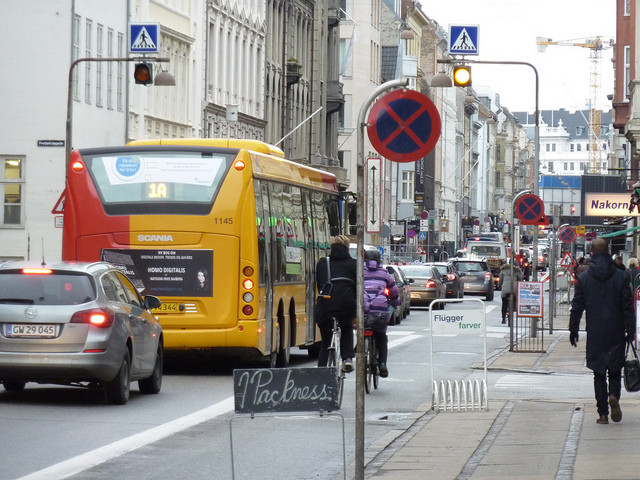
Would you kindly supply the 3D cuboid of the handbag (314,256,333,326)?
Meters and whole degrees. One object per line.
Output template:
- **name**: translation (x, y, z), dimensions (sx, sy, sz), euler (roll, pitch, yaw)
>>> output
- **handbag**: translation (0.065, 0.783, 17.683), dimensions (0.247, 0.910, 0.367), euler (-2, 0, -11)

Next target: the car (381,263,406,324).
- **car**: translation (2.232, 1.747, 38.648), dimensions (1.035, 2.642, 1.039), euler (-2, 0, 6)

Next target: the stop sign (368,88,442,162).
- **stop sign**: translation (0.812, -1.098, 11.594), dimensions (0.687, 0.635, 0.326), euler (-2, 0, 2)

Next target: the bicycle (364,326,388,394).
- **bicycle**: translation (0.815, 1.830, 18.687), dimensions (0.421, 0.590, 0.961), euler (-3, 3, 8)

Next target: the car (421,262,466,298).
- **car**: translation (4.895, 1.519, 49.129), dimensions (1.557, 1.397, 3.632), euler (-5, 7, 8)

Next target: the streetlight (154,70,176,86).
- **streetlight**: translation (-4.159, -4.268, 31.965), dimensions (0.390, 0.399, 0.952), euler (-2, 0, 21)

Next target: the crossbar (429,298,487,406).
- **crossbar**: translation (2.015, 1.707, 17.266), dimensions (0.895, 1.853, 0.087), euler (-2, -31, 5)

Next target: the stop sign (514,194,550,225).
- **stop sign**: translation (5.054, -0.685, 28.816), dimensions (0.627, 0.620, 1.126), euler (-2, 0, 36)

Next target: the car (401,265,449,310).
- **car**: translation (4.001, 1.716, 44.127), dimensions (1.603, 2.014, 2.047), euler (-2, 0, 15)

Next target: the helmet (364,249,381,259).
- **helmet**: translation (0.823, 0.245, 18.447), dimensions (0.181, 0.152, 0.141), euler (-8, -6, 41)
